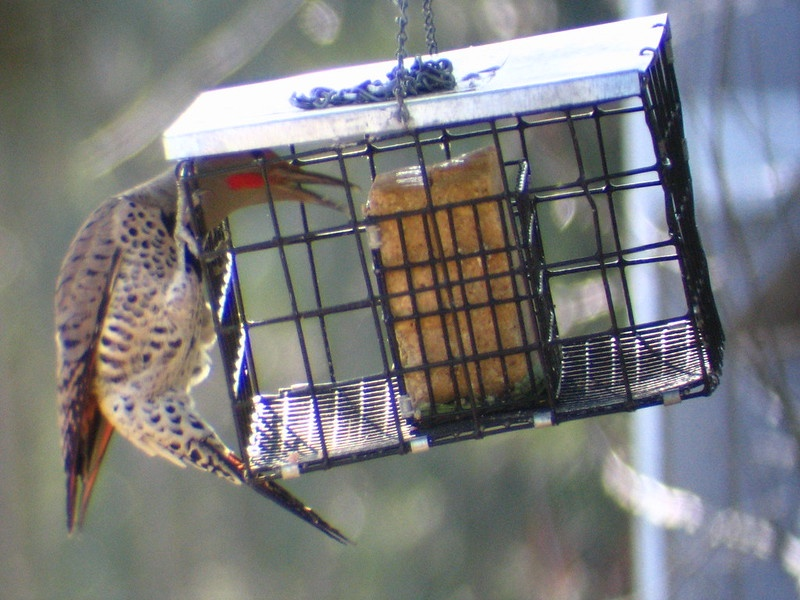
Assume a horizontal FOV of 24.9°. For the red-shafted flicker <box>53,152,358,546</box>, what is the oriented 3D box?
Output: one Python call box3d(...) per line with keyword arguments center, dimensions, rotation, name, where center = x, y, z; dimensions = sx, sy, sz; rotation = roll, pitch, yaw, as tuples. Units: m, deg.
box3d(center=(-0.145, 0.045, 3.192), dimensions=(0.743, 0.590, 0.431), rotation=(-7, -18, -43), name="red-shafted flicker")
